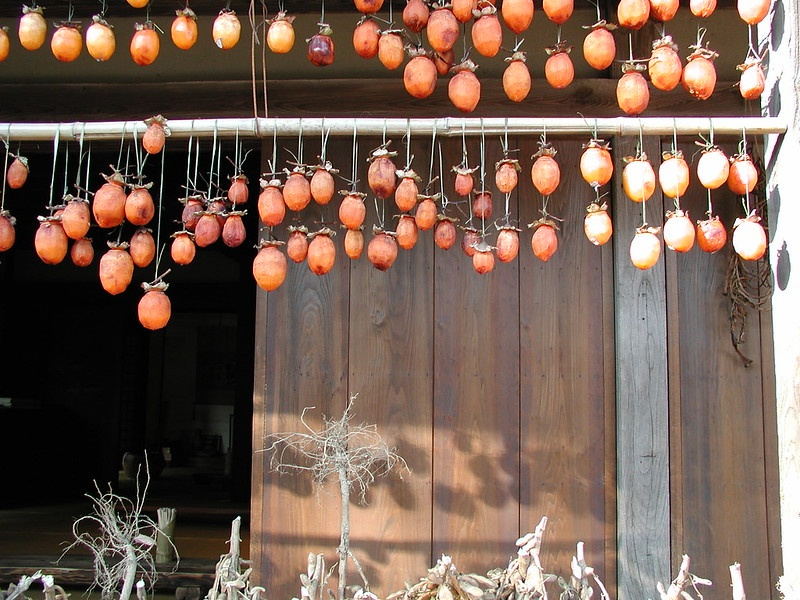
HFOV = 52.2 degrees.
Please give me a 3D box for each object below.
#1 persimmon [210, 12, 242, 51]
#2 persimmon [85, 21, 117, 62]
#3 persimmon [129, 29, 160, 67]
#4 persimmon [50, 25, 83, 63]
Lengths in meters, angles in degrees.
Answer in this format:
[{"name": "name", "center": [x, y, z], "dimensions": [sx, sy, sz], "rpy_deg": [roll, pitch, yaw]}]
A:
[{"name": "persimmon", "center": [-0.557, -0.865, 2.627], "dimensions": [0.073, 0.137, 0.080], "rpy_deg": [-5, -4, 17]}, {"name": "persimmon", "center": [-0.954, -0.826, 2.590], "dimensions": [0.078, 0.135, 0.079], "rpy_deg": [-3, -3, 32]}, {"name": "persimmon", "center": [-0.803, -0.811, 2.607], "dimensions": [0.084, 0.137, 0.079], "rpy_deg": [23, 23, 31]}, {"name": "persimmon", "center": [-1.061, -0.814, 2.601], "dimensions": [0.100, 0.134, 0.101], "rpy_deg": [7, 5, -29]}]
